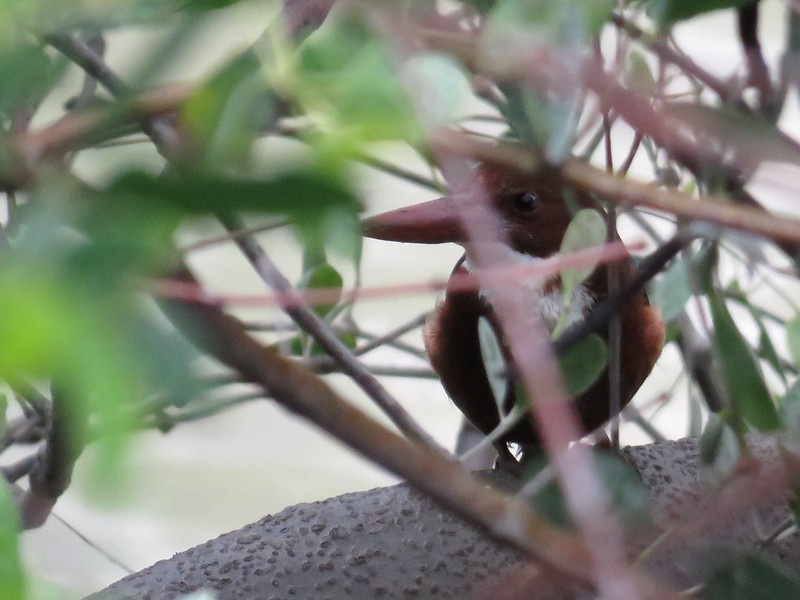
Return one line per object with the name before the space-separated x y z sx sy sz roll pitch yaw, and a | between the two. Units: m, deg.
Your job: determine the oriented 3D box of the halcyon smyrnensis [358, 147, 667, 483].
halcyon smyrnensis | 0.080 -0.003 0.805 0.229 0.175 0.157 6 -23 -22
